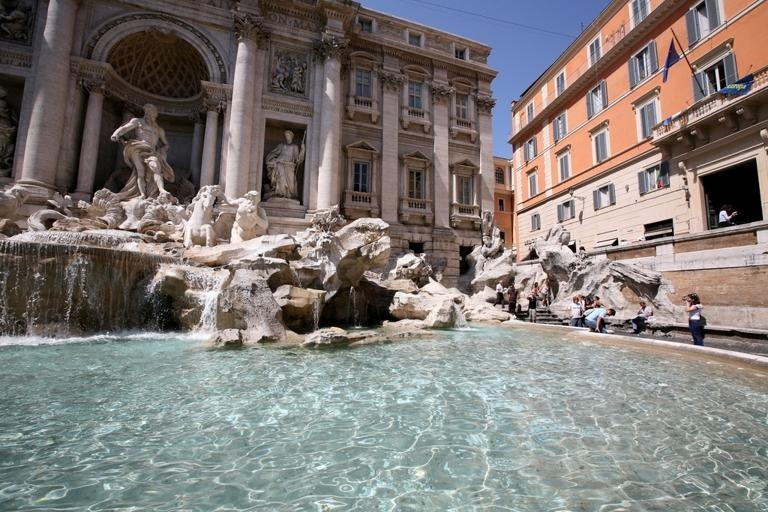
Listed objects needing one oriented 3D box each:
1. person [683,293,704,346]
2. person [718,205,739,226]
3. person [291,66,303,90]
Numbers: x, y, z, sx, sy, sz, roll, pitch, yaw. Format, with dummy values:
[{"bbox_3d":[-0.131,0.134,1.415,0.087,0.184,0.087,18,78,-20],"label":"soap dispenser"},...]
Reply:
[{"bbox_3d":[8.786,1.836,11.906,0.649,1.725,0.648,5,-44,36],"label":"person"},{"bbox_3d":[13.453,-1.553,16.498,0.473,0.888,1.643,3,2,38],"label":"person"},{"bbox_3d":[-4.666,-9.399,22.679,0.708,1.362,0.166,1,2,-29],"label":"person"}]
